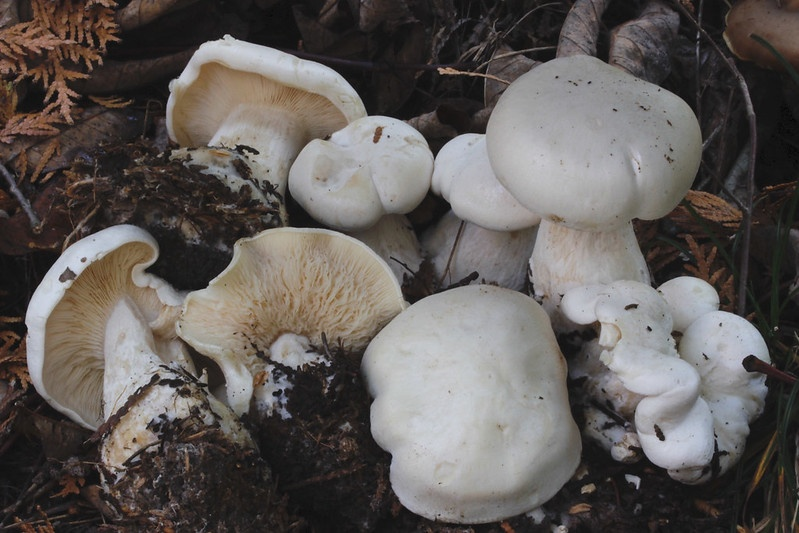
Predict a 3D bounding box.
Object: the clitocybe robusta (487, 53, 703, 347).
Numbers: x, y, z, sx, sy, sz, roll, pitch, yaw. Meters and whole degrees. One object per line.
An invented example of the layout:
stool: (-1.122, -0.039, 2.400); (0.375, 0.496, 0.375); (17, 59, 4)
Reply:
clitocybe robusta: (1.100, -0.344, 5.549); (1.012, 1.432, 1.002); (-35, 47, -31)

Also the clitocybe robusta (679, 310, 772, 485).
clitocybe robusta: (1.872, 0.710, 5.549); (0.557, 0.451, 1.046); (-8, 69, 32)

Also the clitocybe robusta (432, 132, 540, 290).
clitocybe robusta: (0.503, -0.264, 6.108); (0.536, 0.934, 1.169); (3, 97, 6)

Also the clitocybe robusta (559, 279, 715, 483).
clitocybe robusta: (1.441, 0.496, 5.618); (0.699, 1.114, 1.048); (6, 15, 37)
